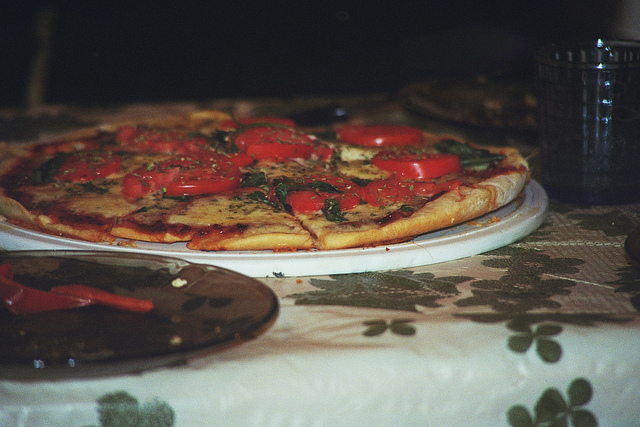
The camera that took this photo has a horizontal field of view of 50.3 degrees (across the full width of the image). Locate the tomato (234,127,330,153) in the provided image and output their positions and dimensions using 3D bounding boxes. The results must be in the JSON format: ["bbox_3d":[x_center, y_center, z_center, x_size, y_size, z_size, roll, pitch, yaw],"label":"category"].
[{"bbox_3d":[-0.166,-0.292,3.041,0.489,0.057,0.241,-2,-13,-2],"label":"tomato"}]

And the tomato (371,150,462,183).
[{"bbox_3d":[0.384,-0.191,2.913,0.385,0.063,0.322,-16,-13,11],"label":"tomato"}]
